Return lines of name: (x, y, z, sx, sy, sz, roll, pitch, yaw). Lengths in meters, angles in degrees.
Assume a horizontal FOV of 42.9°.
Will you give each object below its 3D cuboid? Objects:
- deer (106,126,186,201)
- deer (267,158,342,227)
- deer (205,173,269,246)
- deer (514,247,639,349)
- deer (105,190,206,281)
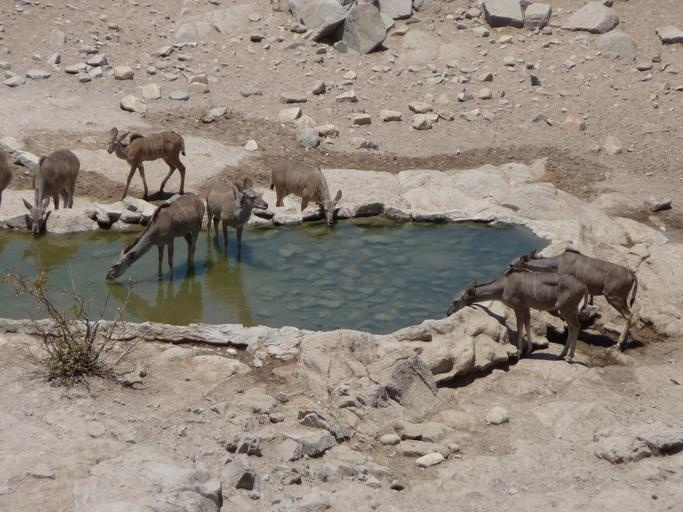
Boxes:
deer: (-5.430, -2.578, 24.353, 2.066, 1.910, 0.684, -4, 12, -15)
deer: (-0.988, -1.706, 22.804, 2.081, 1.256, 0.651, 23, 41, 26)
deer: (-2.619, -0.977, 21.173, 0.831, 1.956, 2.585, -8, 21, -33)
deer: (4.946, 1.010, 18.466, 3.294, 2.254, 0.865, 13, 19, 12)
deer: (-4.200, -0.174, 20.195, 0.774, 2.160, 3.200, 21, 39, 24)
